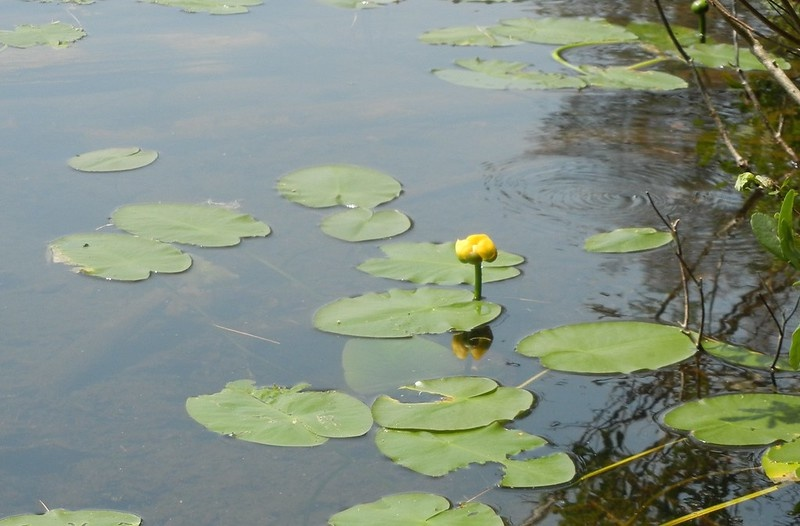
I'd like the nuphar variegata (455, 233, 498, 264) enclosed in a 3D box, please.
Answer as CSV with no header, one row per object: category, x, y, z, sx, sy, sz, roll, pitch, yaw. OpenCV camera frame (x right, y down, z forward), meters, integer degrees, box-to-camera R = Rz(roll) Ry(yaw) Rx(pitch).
nuphar variegata,0.369,-0.082,4.927,0.327,0.112,0.145,-2,37,-3
